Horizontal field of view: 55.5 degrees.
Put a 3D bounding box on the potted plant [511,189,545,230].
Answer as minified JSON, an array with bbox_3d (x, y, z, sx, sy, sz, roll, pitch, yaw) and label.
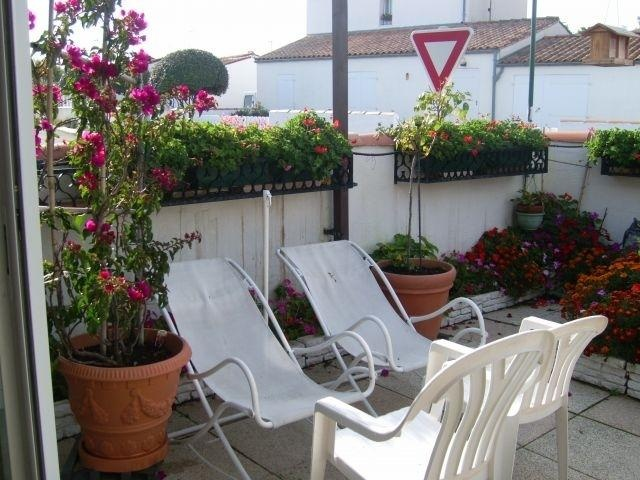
[{"bbox_3d":[2.207,-0.312,6.373,0.351,0.414,0.283,-2,10,3],"label":"potted plant"}]

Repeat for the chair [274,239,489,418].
[{"bbox_3d":[0.295,0.429,4.120,0.806,0.742,1.313,-2,13,-37],"label":"chair"}]

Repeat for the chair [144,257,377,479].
[{"bbox_3d":[-0.479,0.625,3.672,0.764,0.997,1.419,-3,26,-43],"label":"chair"}]

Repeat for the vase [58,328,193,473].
[{"bbox_3d":[-0.929,0.690,2.971,0.553,0.531,0.608,2,7,-5],"label":"vase"}]
